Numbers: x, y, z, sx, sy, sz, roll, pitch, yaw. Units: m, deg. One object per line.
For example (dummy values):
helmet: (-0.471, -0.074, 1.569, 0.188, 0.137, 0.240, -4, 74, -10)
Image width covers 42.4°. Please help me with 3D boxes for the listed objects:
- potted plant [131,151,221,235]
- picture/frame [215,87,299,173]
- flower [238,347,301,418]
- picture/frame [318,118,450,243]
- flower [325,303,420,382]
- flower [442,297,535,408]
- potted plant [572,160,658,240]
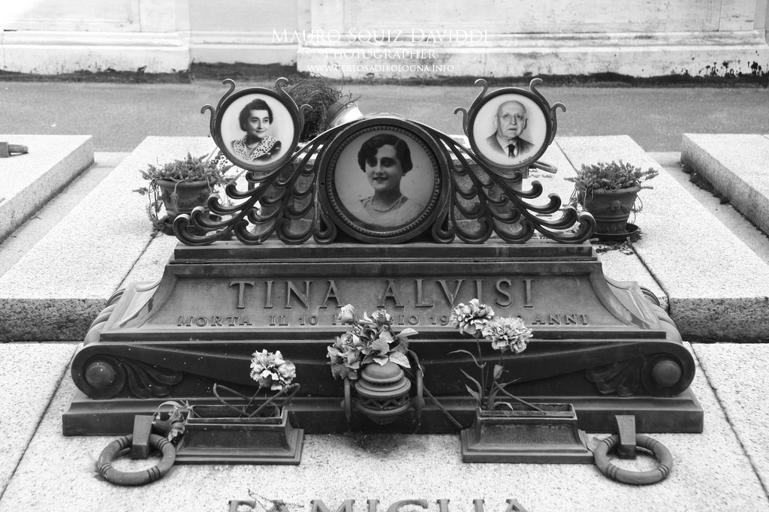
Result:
potted plant: (-2.198, -0.631, 10.979, 0.666, 0.749, 0.748, 3, 1, -9)
picture/frame: (-1.121, -1.093, 8.709, 0.753, 0.703, 0.278, 1, 25, 9)
flower: (-0.947, 0.938, 8.388, 0.322, 0.323, 0.579, -30, 3, 5)
picture/frame: (-0.008, -0.650, 8.643, 1.004, 1.039, 0.122, 0, 4, -2)
flower: (0.009, 0.788, 8.346, 0.621, 0.511, 0.610, -1, -5, 3)
flower: (0.911, 0.799, 8.460, 0.713, 0.925, 0.486, -1, 25, 4)
potted plant: (2.554, -0.747, 10.927, 0.936, 1.013, 0.857, -2, 15, -1)
